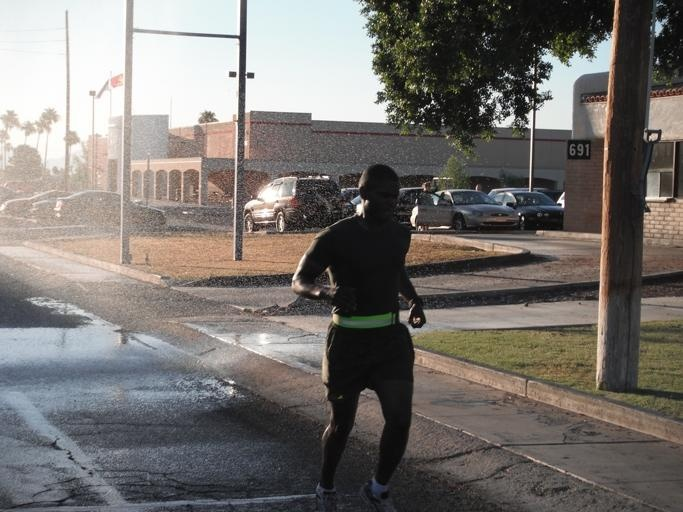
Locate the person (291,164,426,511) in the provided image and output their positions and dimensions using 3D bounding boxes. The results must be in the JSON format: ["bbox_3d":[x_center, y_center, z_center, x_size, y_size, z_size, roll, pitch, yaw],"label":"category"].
[{"bbox_3d":[0.126,0.596,6.643,0.835,2.551,0.607,1,5,-2],"label":"person"}]

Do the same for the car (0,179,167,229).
[{"bbox_3d":[-10.774,-1.981,37.109,7.531,1.478,2.817,3,5,22],"label":"car"}]

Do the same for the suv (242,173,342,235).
[{"bbox_3d":[-1.665,-1.908,31.911,1.775,1.413,3.330,-5,10,-28],"label":"suv"}]
